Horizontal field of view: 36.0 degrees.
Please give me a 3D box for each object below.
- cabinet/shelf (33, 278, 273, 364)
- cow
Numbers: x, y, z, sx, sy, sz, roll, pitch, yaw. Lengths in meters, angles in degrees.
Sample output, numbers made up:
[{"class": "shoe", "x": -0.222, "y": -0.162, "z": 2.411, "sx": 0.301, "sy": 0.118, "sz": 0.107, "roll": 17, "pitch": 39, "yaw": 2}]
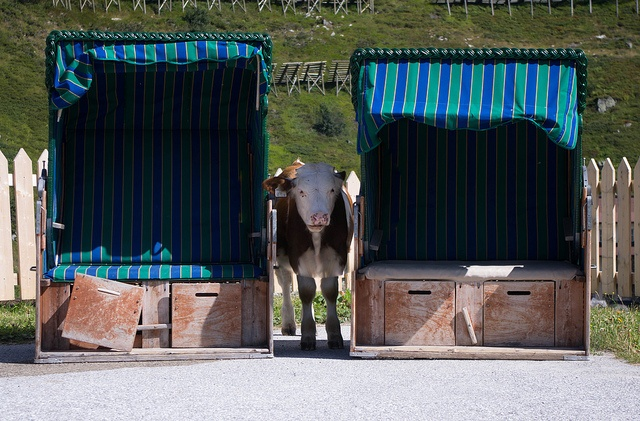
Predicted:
[{"class": "cabinet/shelf", "x": -2.406, "y": 1.798, "z": 16.251, "sx": 3.229, "sy": 1.184, "sz": 0.573, "roll": -1, "pitch": 12, "yaw": -3}, {"class": "cow", "x": -0.168, "y": 0.844, "z": 17.134, "sx": 1.464, "sy": 3.241, "sz": 1.370, "roll": 3, "pitch": 12, "yaw": 15}]
